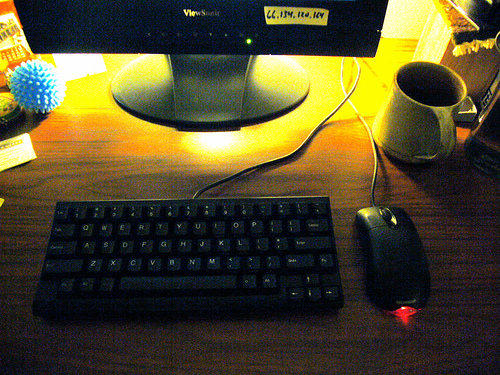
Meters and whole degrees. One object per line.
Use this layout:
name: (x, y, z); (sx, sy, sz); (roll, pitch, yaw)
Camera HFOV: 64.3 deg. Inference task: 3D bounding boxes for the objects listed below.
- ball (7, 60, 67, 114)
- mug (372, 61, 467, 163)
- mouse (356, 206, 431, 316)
ball: (-0.425, -0.202, 0.794); (0.097, 0.077, 0.068); (-37, 61, -24)
mug: (0.306, -0.131, 0.725); (0.138, 0.147, 0.123); (10, 54, 8)
mouse: (0.234, 0.100, 0.658); (0.106, 0.057, 0.191); (1, 51, -4)
